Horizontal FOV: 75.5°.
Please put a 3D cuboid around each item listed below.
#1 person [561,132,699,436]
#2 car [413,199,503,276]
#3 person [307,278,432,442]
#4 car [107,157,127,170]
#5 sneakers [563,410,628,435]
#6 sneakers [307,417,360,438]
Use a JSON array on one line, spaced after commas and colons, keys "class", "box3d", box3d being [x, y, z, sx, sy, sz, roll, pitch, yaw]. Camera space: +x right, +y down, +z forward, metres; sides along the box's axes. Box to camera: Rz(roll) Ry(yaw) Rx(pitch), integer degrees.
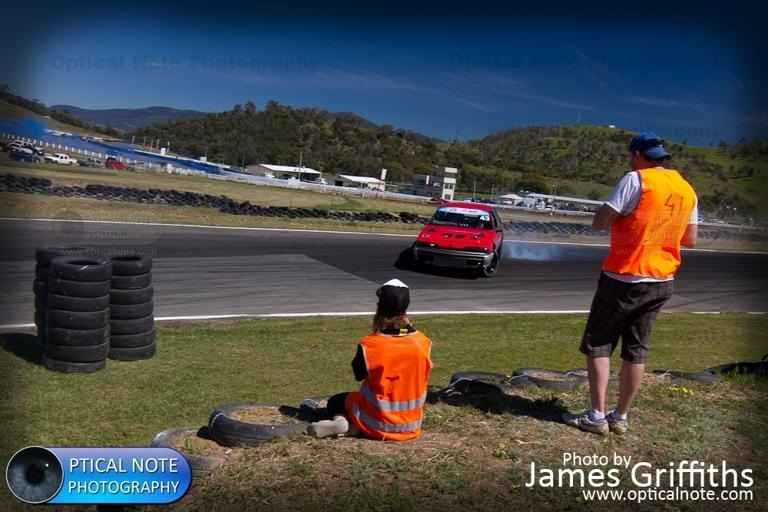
[{"class": "person", "box3d": [2.254, 0.258, 4.488, 1.058, 2.715, 0.368, -1, 7, -12]}, {"class": "car", "box3d": [2.443, -0.859, 15.428, 2.795, 1.394, 3.840, 10, 22, 10]}, {"class": "person", "box3d": [-0.079, 0.901, 4.297, 0.960, 1.369, 0.383, 1, 6, 4]}, {"class": "car", "box3d": [-23.087, -8.058, 42.578, 1.597, 1.196, 3.929, -3, 5, -27]}, {"class": "sneakers", "box3d": [1.938, 1.521, 4.597, 0.571, 0.166, 0.207, 4, -2, 12]}, {"class": "sneakers", "box3d": [-0.452, 1.506, 4.367, 0.353, 0.093, 0.183, 1, 0, -5]}]
